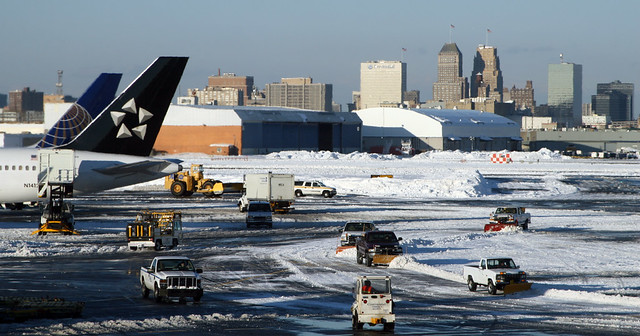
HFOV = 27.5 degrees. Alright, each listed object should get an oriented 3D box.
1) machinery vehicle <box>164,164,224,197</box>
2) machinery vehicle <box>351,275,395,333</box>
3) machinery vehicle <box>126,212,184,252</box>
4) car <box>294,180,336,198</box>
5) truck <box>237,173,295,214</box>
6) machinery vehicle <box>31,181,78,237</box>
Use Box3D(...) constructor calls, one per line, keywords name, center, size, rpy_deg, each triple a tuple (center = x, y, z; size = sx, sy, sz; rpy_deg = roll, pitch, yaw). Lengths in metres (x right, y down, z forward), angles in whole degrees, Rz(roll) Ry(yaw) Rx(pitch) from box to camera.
Box3D(name="machinery vehicle", center=(-24.262, 2.733, 253.319), size=(11.833, 4.850, 5.706), rpy_deg=(-1, 2, 1))
Box3D(name="machinery vehicle", center=(8.502, 20.177, 204.214), size=(6.511, 5.634, 9.318), rpy_deg=(0, 3, -1))
Box3D(name="machinery vehicle", center=(-27.006, 10.282, 217.103), size=(9.790, 4.809, 5.870), rpy_deg=(-1, 2, 16))
Box3D(name="car", center=(-0.954, 4.271, 253.040), size=(7.660, 2.270, 3.346), rpy_deg=(-1, 2, 14))
Box3D(name="truck", center=(-10.818, 4.020, 237.004), size=(11.028, 4.947, 5.842), rpy_deg=(3, 3, 35))
Box3D(name="machinery vehicle", center=(-45.213, 6.722, 224.153), size=(7.401, 9.243, 5.576), rpy_deg=(3, -2, -15))
